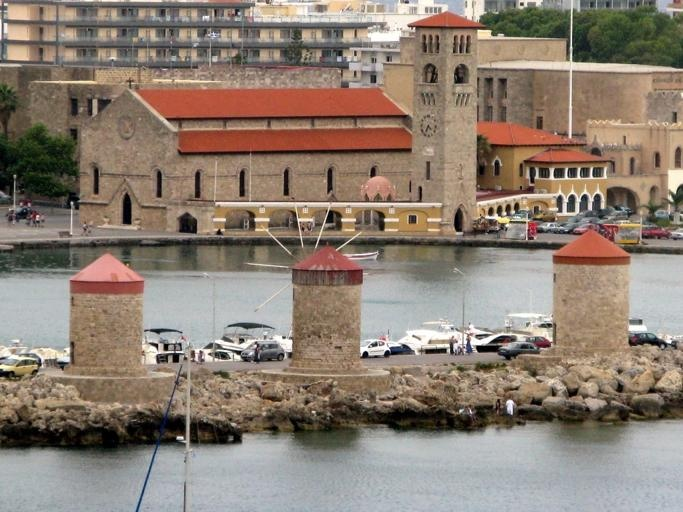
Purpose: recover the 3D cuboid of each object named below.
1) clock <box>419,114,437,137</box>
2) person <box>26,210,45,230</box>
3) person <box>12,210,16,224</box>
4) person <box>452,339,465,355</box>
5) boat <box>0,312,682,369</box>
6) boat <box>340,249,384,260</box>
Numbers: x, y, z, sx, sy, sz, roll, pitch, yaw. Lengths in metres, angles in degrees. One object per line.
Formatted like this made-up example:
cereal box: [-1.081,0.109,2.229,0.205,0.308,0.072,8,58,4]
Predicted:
clock: [4.845,-7.346,122.607,1.198,1.413,0.139,3,14,26]
person: [-17.206,-1.902,120.681,1.168,0.568,0.386,4,0,45]
person: [-18.611,-2.136,121.975,0.312,0.579,1.601,-2,1,-8]
person: [4.630,3.733,86.729,0.436,0.736,0.439,-4,-22,-9]
boat: [-0.321,3.402,84.041,19.415,1.176,1.580,-2,1,-17]
boat: [0.946,0.103,113.626,2.878,0.662,0.679,-2,4,-16]
